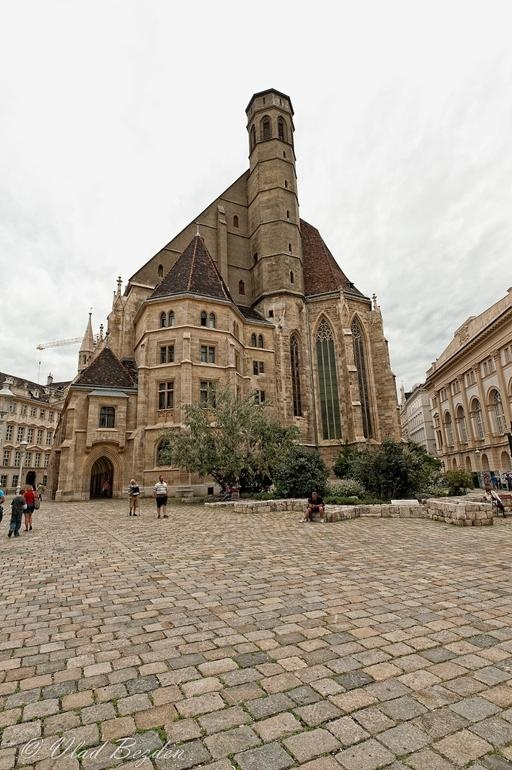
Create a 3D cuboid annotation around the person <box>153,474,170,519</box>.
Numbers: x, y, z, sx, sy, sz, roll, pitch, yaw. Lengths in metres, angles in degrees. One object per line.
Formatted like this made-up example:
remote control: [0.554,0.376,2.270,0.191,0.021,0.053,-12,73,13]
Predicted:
person: [-3.558,4.184,15.013,0.418,1.429,2.243,0,-13,-14]
